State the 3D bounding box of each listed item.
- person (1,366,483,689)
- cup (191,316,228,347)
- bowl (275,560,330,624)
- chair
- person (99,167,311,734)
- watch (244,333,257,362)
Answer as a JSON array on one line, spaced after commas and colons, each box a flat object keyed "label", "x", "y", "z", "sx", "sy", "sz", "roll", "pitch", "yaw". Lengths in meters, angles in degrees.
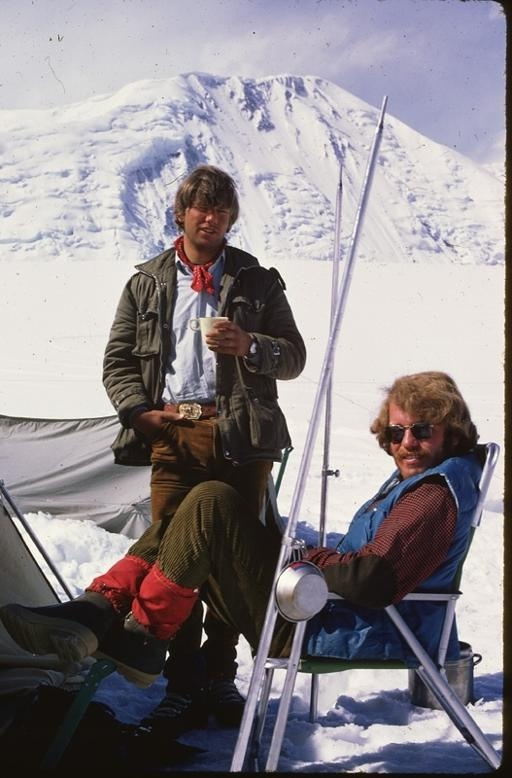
[{"label": "person", "x": 0.130, "y": 0.397, "z": 2.168, "sx": 1.436, "sy": 0.758, "sz": 0.568, "roll": 2, "pitch": -11, "yaw": -3}, {"label": "cup", "x": -0.126, "y": -0.169, "z": 2.182, "sx": 0.086, "sy": 0.069, "sz": 0.098, "roll": -1, "pitch": 0, "yaw": -11}, {"label": "bowl", "x": 0.084, "y": 0.395, "z": 1.451, "sx": 0.081, "sy": 0.137, "sz": 0.062, "roll": -9, "pitch": 16, "yaw": -24}, {"label": "chair", "x": 0.328, "y": 0.630, "z": 2.081, "sx": 0.764, "sy": 0.857, "sz": 0.611, "roll": 2, "pitch": 15, "yaw": -19}, {"label": "person", "x": -0.163, "y": 0.164, "z": 2.441, "sx": 0.718, "sy": 1.614, "sz": 0.615, "roll": 0, "pitch": 4, "yaw": 16}, {"label": "watch", "x": -0.010, "y": -0.128, "z": 2.307, "sx": 0.032, "sy": 0.070, "sz": 0.057, "roll": 7, "pitch": -4, "yaw": -28}]
